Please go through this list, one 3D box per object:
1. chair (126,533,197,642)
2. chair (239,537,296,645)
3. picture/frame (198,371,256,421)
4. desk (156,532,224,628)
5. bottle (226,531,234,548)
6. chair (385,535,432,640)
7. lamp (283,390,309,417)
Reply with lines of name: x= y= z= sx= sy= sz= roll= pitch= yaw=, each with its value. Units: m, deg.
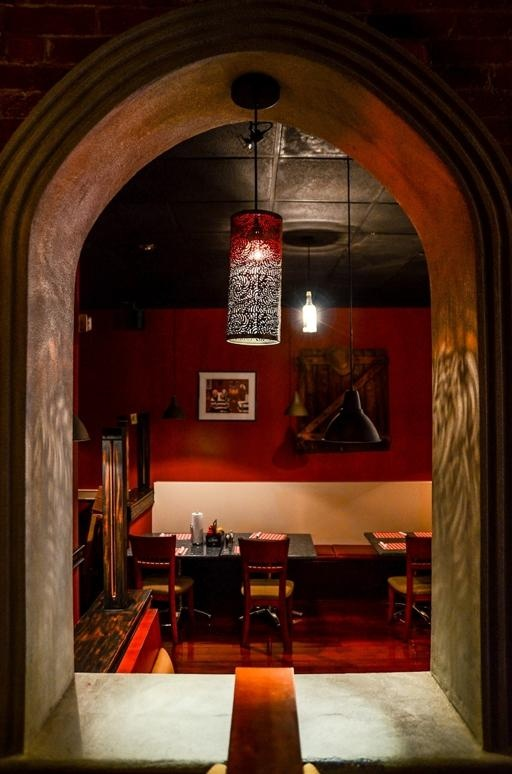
chair: x=-0.692 y=1.410 z=4.962 sx=0.442 sy=0.792 sz=0.933 roll=0 pitch=-1 yaw=-5
chair: x=0.076 y=1.405 z=4.849 sx=0.370 sy=0.778 sz=0.896 roll=0 pitch=-1 yaw=1
picture/frame: x=-0.274 y=0.081 z=6.199 sx=0.420 sy=0.385 sz=0.028 roll=0 pitch=-5 yaw=0
desk: x=-0.484 y=1.438 z=5.219 sx=0.632 sy=0.641 sz=0.664 roll=0 pitch=-6 yaw=14
bottle: x=-0.210 y=1.228 z=5.325 sx=0.060 sy=0.121 sz=0.062 roll=-1 pitch=-2 yaw=0
chair: x=1.210 y=1.450 z=4.952 sx=0.391 sy=0.759 sz=0.465 roll=1 pitch=0 yaw=2
lamp: x=0.343 y=0.140 z=5.760 sx=0.188 sy=0.214 sz=0.203 roll=-2 pitch=-1 yaw=11
